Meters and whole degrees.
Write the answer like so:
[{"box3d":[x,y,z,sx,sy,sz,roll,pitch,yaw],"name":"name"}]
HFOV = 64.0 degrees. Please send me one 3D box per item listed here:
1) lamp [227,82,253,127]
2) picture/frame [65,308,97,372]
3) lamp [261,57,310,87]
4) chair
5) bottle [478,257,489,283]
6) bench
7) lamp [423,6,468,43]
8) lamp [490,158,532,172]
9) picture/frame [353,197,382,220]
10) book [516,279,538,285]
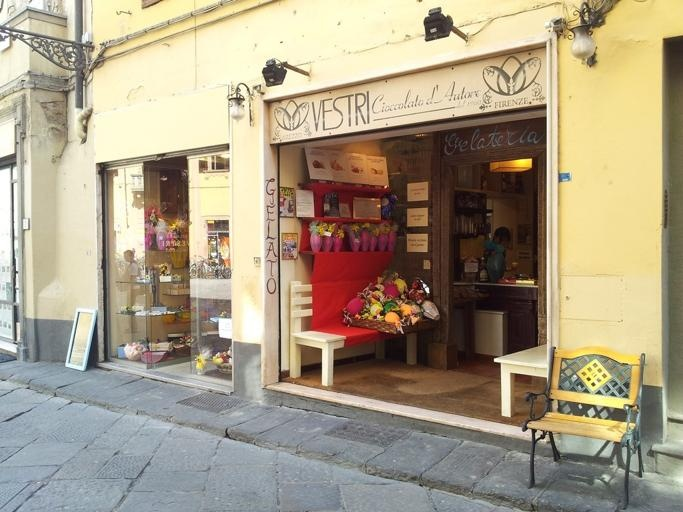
[{"box3d":[-1.194,-1.827,6.497,0.305,0.527,0.603,-6,8,-10],"name":"lamp"},{"box3d":[-3.965,1.235,8.342,0.521,0.867,0.410,3,11,44],"name":"picture/frame"},{"box3d":[-0.636,-1.992,6.067,0.541,0.214,0.295,0,2,-31],"name":"lamp"},{"box3d":[1.931,1.283,4.368,0.852,0.974,0.786,-1,9,26],"name":"chair"},{"box3d":[2.255,0.194,8.727,0.143,0.298,0.705,-3,7,14],"name":"bottle"},{"box3d":[0.123,0.904,7.136,0.773,1.368,1.907,2,10,41],"name":"bench"},{"box3d":[0.915,-2.091,4.965,0.212,0.260,0.479,2,9,39],"name":"lamp"},{"box3d":[2.955,-1.625,9.680,0.651,0.149,0.698,0,-2,-40],"name":"lamp"},{"box3d":[0.367,-0.691,7.896,0.503,0.296,0.110,-1,1,-37],"name":"picture/frame"},{"box3d":[2.688,0.371,8.024,0.308,0.054,0.268,1,8,31],"name":"book"}]
